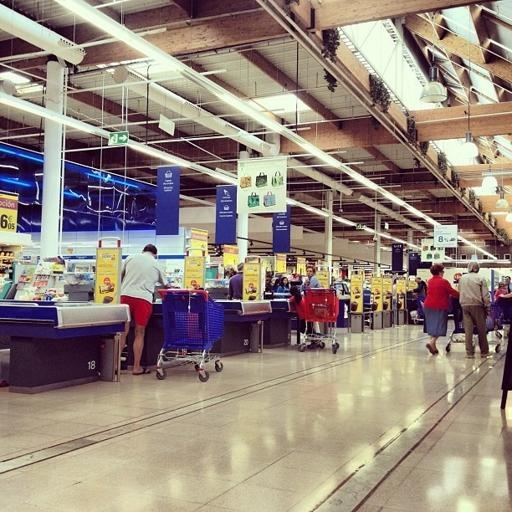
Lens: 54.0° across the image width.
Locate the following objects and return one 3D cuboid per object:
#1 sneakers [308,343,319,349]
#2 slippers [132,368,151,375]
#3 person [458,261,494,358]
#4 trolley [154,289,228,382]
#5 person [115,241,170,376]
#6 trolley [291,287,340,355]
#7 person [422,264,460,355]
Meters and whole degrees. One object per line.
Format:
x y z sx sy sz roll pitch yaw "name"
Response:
1.105 1.722 9.641 0.146 0.065 0.193 1 -6 -7 "sneakers"
-1.399 1.434 6.203 0.077 0.052 0.159 1 1 31 "slippers"
3.606 0.896 8.296 0.466 1.589 0.782 -1 -6 22 "person"
-0.772 0.851 5.953 0.751 1.055 1.250 0 -1 12 "trolley"
-1.396 0.658 6.392 0.792 1.713 0.672 7 -23 -15 "person"
1.001 1.153 9.750 1.296 1.588 1.044 -1 -2 15 "trolley"
3.286 0.940 8.982 0.595 1.627 0.462 -2 -6 27 "person"
